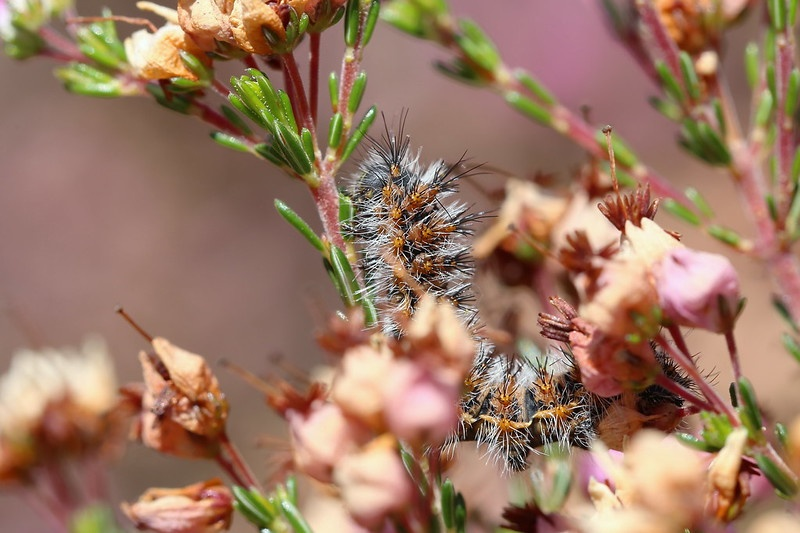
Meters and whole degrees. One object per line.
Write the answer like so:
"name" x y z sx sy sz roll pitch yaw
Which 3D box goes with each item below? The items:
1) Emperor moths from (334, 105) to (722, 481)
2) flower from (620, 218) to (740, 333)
"Emperor moths" 0.142 -0.031 1.016 0.431 0.121 0.411 10 13 -6
"flower" 0.287 0.014 0.790 0.077 0.054 0.135 -30 67 -19
